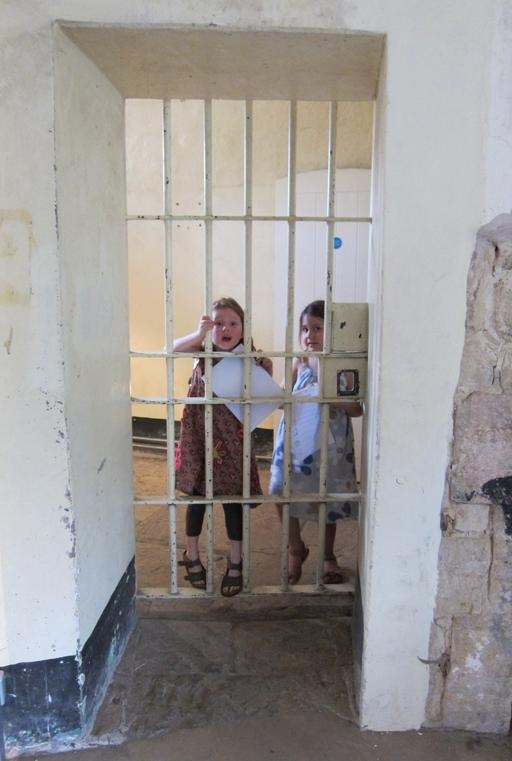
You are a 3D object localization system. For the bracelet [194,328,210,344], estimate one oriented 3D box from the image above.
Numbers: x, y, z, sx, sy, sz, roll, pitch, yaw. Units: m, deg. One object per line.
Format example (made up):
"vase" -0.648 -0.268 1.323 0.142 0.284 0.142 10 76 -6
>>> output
"bracelet" -0.187 -0.153 3.154 0.026 0.030 0.108 -20 -13 -11

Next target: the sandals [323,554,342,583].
"sandals" 0.292 0.720 3.415 0.042 0.048 0.118 1 12 4

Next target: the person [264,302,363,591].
"person" 0.221 0.250 3.427 0.333 1.094 0.587 2 5 2

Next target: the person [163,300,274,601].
"person" -0.131 0.248 3.329 0.359 1.090 0.475 2 5 -1

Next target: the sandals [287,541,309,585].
"sandals" 0.165 0.714 3.523 0.045 0.164 0.056 10 0 -34

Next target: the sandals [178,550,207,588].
"sandals" -0.238 0.730 3.432 0.065 0.064 0.162 -13 37 -24

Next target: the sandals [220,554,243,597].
"sandals" -0.090 0.718 3.304 0.080 0.101 0.164 2 5 -2
